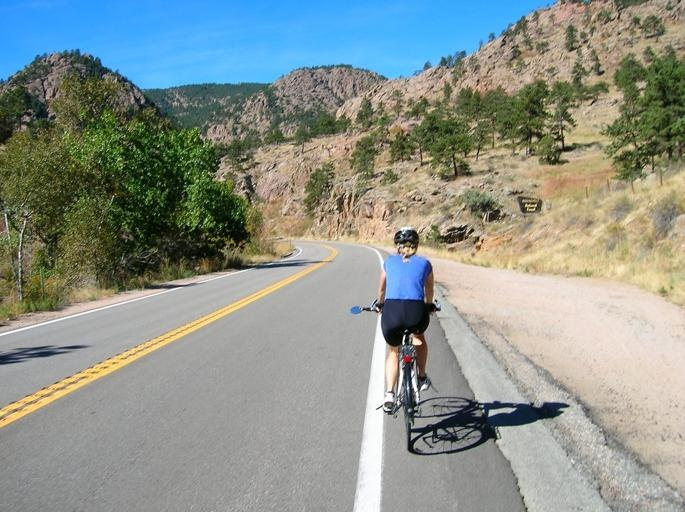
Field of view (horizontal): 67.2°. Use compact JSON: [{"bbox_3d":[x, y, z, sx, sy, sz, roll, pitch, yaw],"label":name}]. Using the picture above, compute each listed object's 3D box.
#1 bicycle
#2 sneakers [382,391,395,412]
[{"bbox_3d":[0.869,1.668,7.412,0.741,1.105,1.588,-3,8,2],"label":"bicycle"},{"bbox_3d":[0.608,1.946,6.874,0.158,0.268,0.144,-1,5,2],"label":"sneakers"}]
